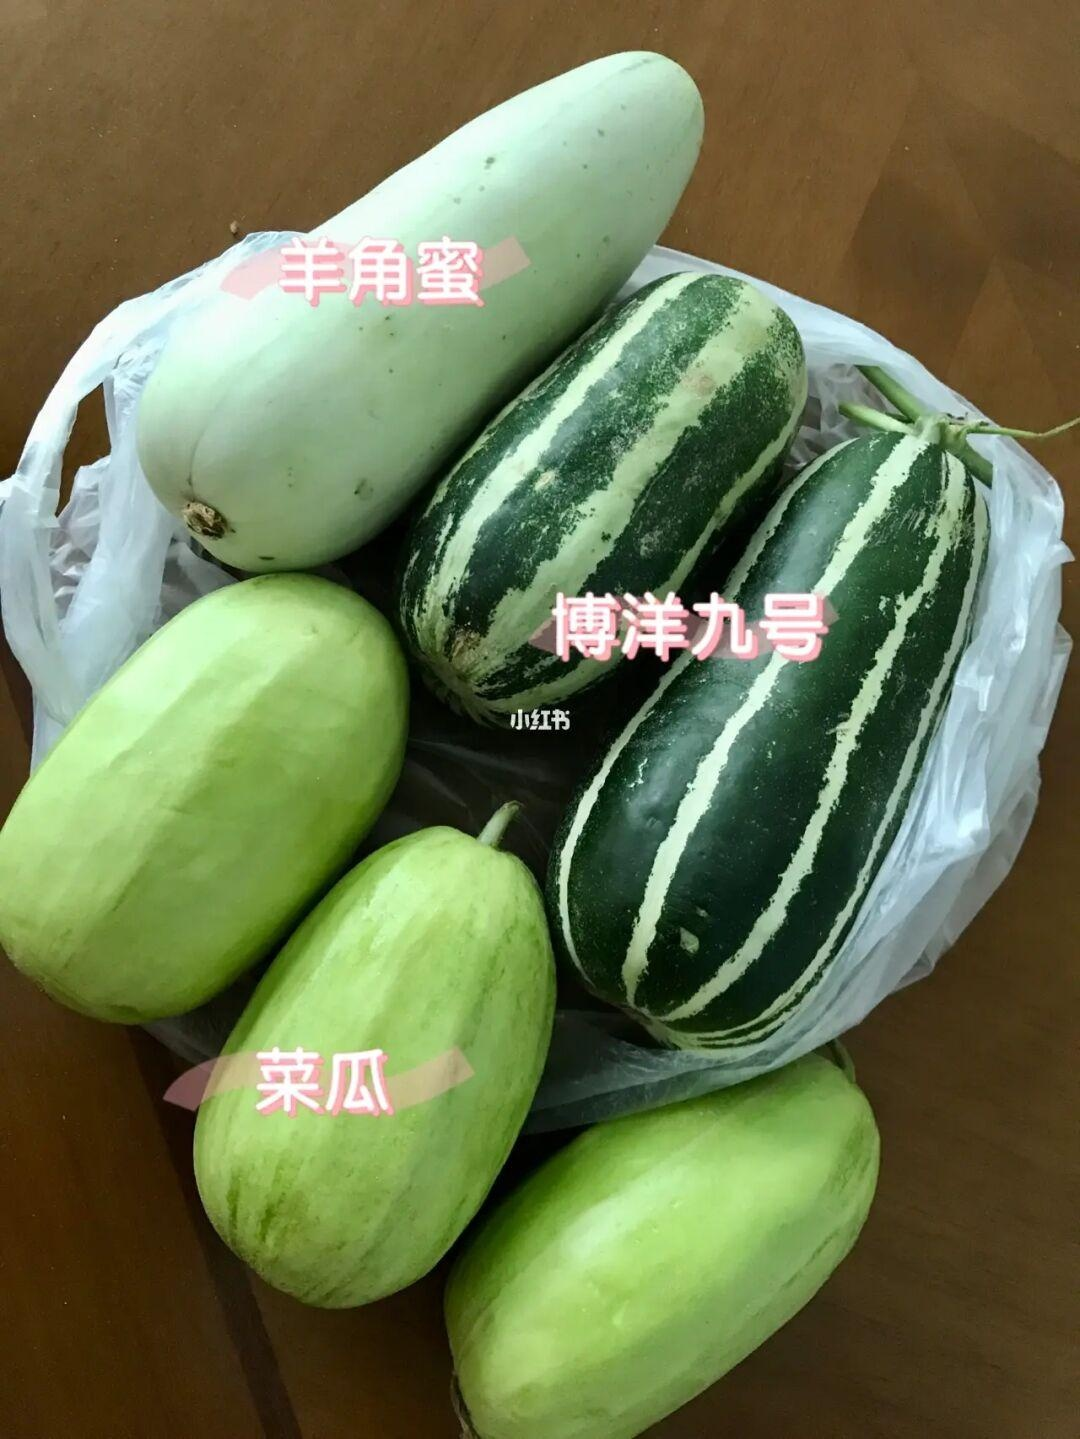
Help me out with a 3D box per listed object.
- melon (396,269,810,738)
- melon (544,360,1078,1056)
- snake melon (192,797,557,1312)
[{"bbox_3d":[0.034,-0.120,0.781,0.272,0.129,0.137,-45,114,-4],"label":"melon"},{"bbox_3d":[0.130,0.008,0.736,0.147,0.115,0.321,33,76,14],"label":"melon"},{"bbox_3d":[-0.076,0.156,0.679,0.140,0.083,0.226,26,75,13],"label":"snake melon"}]
